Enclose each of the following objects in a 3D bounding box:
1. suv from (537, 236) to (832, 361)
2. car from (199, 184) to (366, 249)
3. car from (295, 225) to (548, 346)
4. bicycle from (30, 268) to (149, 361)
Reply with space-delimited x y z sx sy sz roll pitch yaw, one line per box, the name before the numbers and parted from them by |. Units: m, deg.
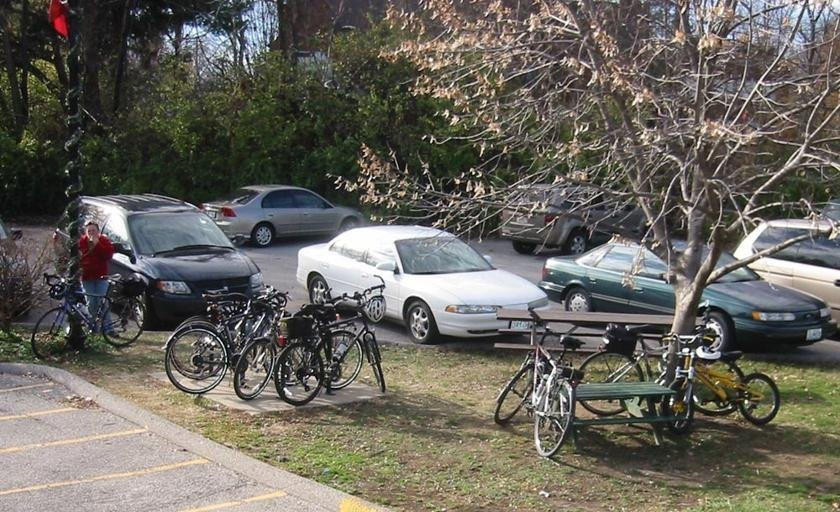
suv | 5.360 0.719 16.545 5.315 1.419 2.281 5 6 42
car | -4.513 -1.345 26.528 5.373 1.538 2.237 -5 11 -31
car | -0.269 0.449 16.745 5.081 1.492 2.310 10 8 42
bicycle | -6.204 1.089 14.764 0.896 1.430 2.325 8 4 42
